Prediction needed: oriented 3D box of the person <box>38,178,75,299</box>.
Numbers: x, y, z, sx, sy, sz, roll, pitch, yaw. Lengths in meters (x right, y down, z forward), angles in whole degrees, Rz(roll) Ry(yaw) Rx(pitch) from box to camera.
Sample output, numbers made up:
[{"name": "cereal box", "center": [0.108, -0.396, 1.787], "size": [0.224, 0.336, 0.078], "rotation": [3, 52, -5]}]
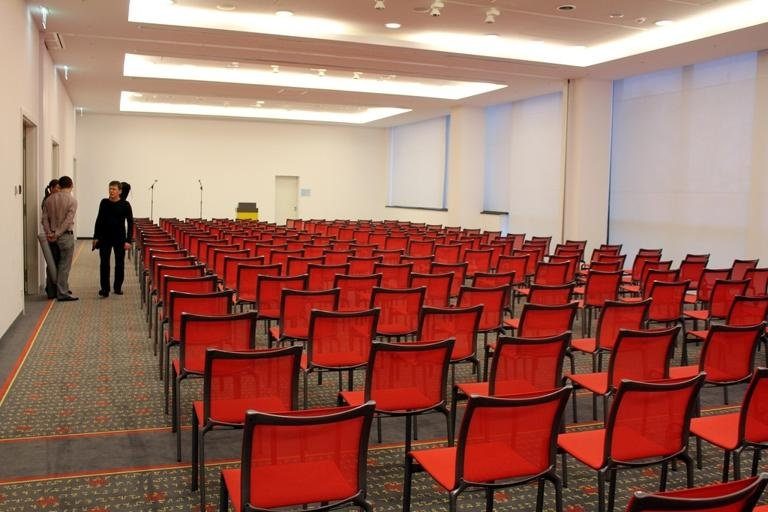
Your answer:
[{"name": "person", "center": [-5.772, -0.311, 10.087], "size": [0.519, 2.203, 0.505], "rotation": [-1, 6, -30]}]

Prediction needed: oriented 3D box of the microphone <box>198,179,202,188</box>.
[{"name": "microphone", "center": [-7.617, -2.973, 23.544], "size": [0.179, 0.371, 0.098], "rotation": [0, 6, -17]}]

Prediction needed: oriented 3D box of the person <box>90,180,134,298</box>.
[{"name": "person", "center": [-5.082, -0.319, 10.672], "size": [0.635, 2.144, 0.653], "rotation": [-1, 6, -25]}]

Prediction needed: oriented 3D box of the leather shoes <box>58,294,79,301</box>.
[{"name": "leather shoes", "center": [-5.601, 0.756, 10.130], "size": [0.367, 0.128, 0.117], "rotation": [0, 7, -16]}]
